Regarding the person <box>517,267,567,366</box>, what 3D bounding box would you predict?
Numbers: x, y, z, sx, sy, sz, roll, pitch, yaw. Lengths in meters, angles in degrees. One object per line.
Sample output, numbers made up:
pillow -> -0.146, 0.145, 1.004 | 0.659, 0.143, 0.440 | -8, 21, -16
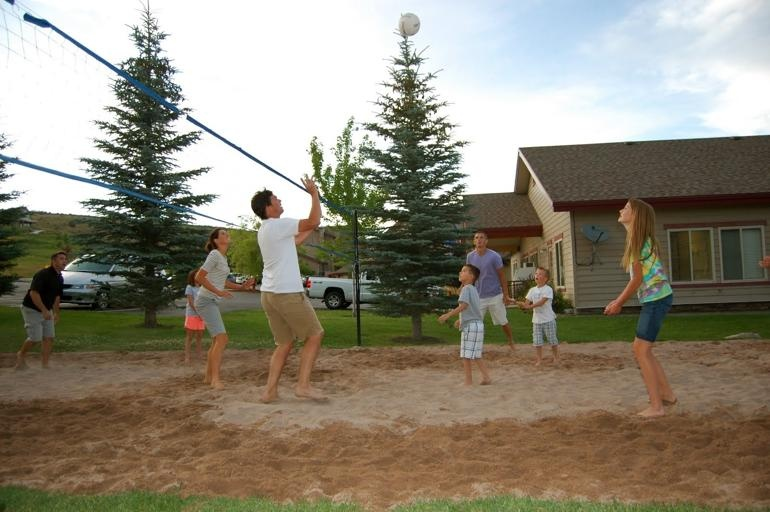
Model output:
person -> 2.642, 1.021, 9.889 | 0.641, 1.696, 0.913 | 2, 13, 14

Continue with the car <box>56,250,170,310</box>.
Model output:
car -> -7.386, 0.642, 16.108 | 1.953, 1.288, 3.241 | -5, -9, 30

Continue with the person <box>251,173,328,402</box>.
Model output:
person -> -1.230, 0.500, 7.640 | 0.906, 3.019, 1.085 | -3, 13, -8

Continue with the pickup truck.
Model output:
pickup truck -> -0.729, 1.068, 23.552 | 4.544, 1.200, 1.319 | -1, 19, -1

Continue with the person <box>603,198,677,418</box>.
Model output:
person -> 3.254, 0.590, 7.294 | 0.891, 2.586, 1.458 | 5, 14, 24
